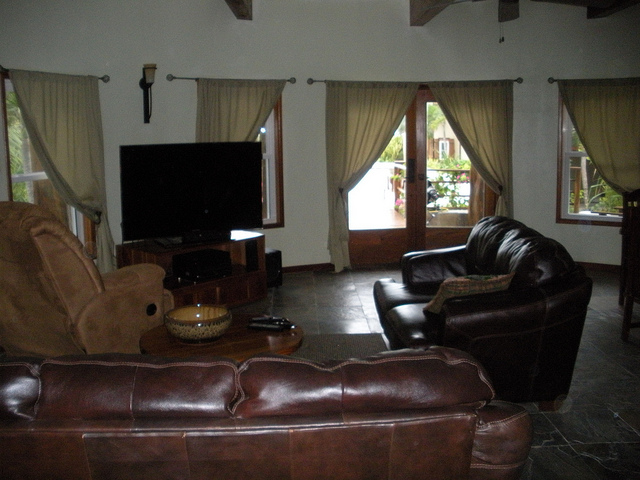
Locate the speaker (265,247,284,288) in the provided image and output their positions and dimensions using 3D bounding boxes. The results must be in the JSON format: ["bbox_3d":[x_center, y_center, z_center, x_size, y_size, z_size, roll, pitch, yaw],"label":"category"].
[{"bbox_3d":[-0.494,0.305,5.711,0.186,0.417,0.298,0,2,-4],"label":"speaker"}]

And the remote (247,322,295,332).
[{"bbox_3d":[-0.311,0.517,3.145,0.160,0.025,0.095,2,7,2],"label":"remote"}]

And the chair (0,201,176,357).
[{"bbox_3d":[-1.577,0.170,3.440,0.898,1.175,1.084,4,6,38],"label":"chair"}]

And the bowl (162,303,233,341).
[{"bbox_3d":[-0.703,0.475,3.004,0.349,0.165,0.297,0,2,-19],"label":"bowl"}]
